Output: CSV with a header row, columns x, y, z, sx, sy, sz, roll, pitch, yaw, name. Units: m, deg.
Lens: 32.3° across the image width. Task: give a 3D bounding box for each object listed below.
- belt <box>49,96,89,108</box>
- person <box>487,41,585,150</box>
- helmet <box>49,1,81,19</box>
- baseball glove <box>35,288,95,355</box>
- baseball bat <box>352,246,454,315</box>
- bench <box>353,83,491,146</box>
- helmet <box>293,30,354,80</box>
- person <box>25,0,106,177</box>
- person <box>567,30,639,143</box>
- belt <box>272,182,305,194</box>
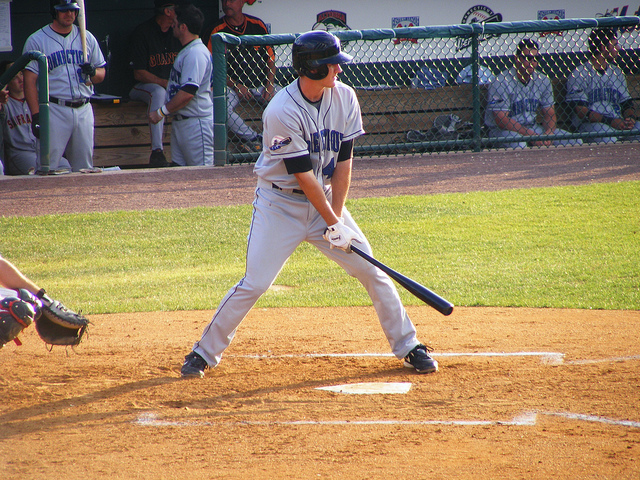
x,y,z,sx,sy,sz,roll,pitch,yaw,name
-2.455,-1.341,10.841,0.390,0.108,0.072,-4,5,-34,belt
2.220,-1.481,11.554,0.882,1.073,0.891,-2,22,9,person
-2.437,-2.199,10.590,0.224,0.175,0.349,-3,5,-22,helmet
-1.834,0.559,7.881,0.270,0.452,0.184,-36,13,9,baseball glove
0.631,0.339,8.630,0.788,0.074,0.067,37,28,-1,baseball bat
1.051,-1.425,12.016,1.327,0.596,0.484,-4,-2,-4,bench
0.023,-1.295,7.738,0.446,0.324,0.360,15,29,13,helmet
-2.495,-1.465,10.868,0.716,1.685,0.931,-1,5,-6,person
2.981,-1.663,11.884,0.694,1.048,0.671,22,39,39,person
-0.230,-0.349,7.733,0.111,0.029,0.112,18,8,33,belt
